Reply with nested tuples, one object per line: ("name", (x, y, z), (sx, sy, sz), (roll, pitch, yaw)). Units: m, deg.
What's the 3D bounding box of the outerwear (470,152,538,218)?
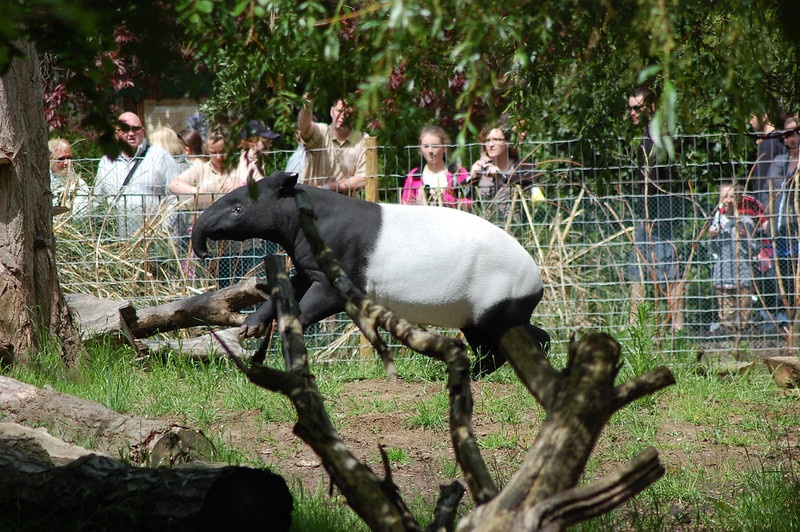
("outerwear", (0.853, -0.648, 9.420), (0.566, 0.589, 0.357), (-2, -14, 35))
